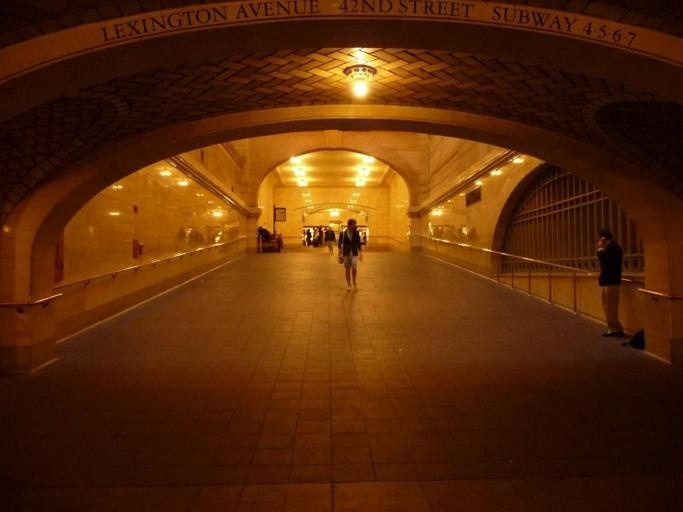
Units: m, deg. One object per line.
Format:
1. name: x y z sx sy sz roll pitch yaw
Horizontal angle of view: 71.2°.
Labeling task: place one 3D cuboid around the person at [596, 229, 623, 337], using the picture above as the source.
1. person: 4.005 0.398 7.068 0.421 1.493 0.569 5 11 30

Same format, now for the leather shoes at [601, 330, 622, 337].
1. leather shoes: 3.975 1.138 7.018 0.268 0.085 0.104 4 -4 4
